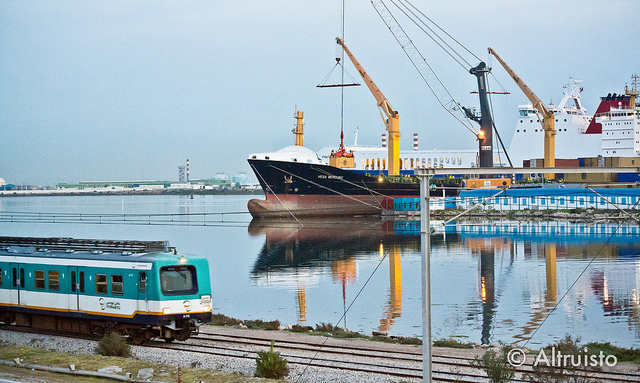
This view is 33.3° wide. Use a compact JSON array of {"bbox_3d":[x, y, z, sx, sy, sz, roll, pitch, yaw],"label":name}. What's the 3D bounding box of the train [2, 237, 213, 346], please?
[{"bbox_3d":[-10.715,5.946,64.102,19.096,5.622,4.779,4,3,29],"label":"train"}]
